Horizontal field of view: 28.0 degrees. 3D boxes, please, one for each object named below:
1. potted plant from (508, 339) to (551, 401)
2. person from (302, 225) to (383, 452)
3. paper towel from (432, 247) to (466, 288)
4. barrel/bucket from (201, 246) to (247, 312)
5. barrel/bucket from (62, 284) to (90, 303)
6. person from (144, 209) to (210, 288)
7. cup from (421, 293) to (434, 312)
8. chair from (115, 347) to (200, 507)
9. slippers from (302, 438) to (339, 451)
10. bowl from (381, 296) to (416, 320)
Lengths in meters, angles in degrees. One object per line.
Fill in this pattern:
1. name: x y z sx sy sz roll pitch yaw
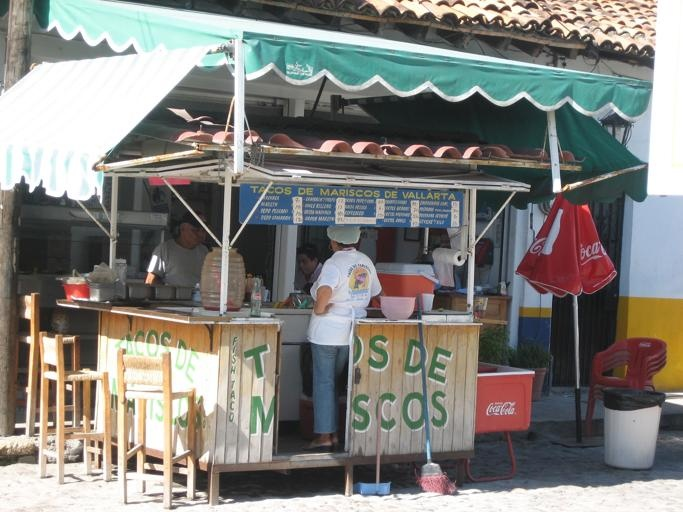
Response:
1. potted plant: 2.427 1.473 17.774 0.743 0.934 0.650 0 -3 -7
2. person: -0.017 0.802 13.930 0.657 2.269 0.361 0 -4 -2
3. paper towel: 1.127 0.083 14.632 0.324 0.420 0.573 1 -4 -14
4. barrel/bucket: -1.187 0.210 13.566 0.524 0.766 0.530 1 -2 0
5. barrel/bucket: -2.775 0.369 14.338 0.200 0.131 0.199 0 -1 0
6. person: -1.892 -0.099 15.700 0.675 0.934 1.222 0 -4 -4
7. cup: 0.894 0.457 14.266 0.093 0.180 0.144 -2 -4 18
8. chair: -1.874 1.667 13.405 0.837 1.538 0.662 -2 -4 23
9. slippers: -0.216 1.899 13.861 0.355 0.109 0.217 0 -4 -5
10. bowl: 0.565 0.540 14.005 0.254 0.180 0.247 0 -4 0
